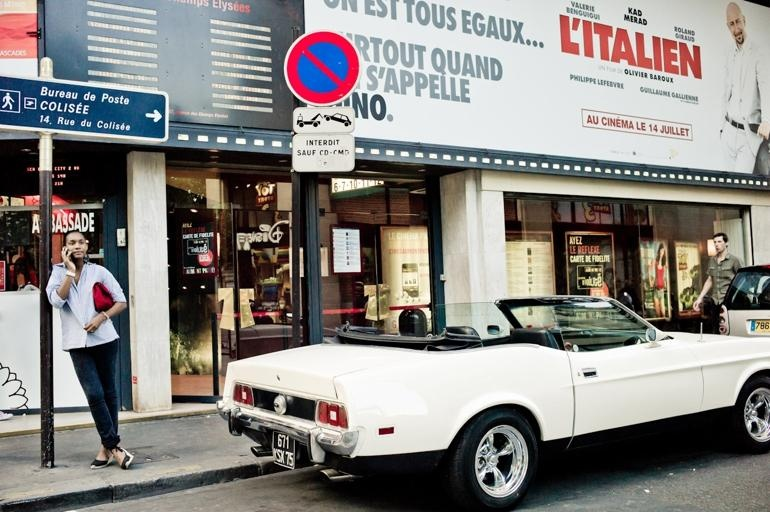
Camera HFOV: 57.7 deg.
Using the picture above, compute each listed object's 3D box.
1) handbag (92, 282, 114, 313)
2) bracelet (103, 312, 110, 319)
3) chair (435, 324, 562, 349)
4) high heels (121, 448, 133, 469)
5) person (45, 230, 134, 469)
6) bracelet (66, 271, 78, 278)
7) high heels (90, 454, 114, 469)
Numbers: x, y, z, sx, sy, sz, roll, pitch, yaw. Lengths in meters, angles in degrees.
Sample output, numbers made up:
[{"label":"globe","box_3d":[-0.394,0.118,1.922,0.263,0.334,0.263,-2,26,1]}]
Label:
[{"label":"handbag","box_3d":[-3.452,0.517,8.598,0.149,0.341,0.305,-16,-6,12]},{"label":"bracelet","box_3d":[-3.395,0.724,8.587,0.069,0.022,0.056,43,4,-20]},{"label":"chair","box_3d":[1.191,0.892,7.710,0.777,0.313,0.598,0,-1,-20]},{"label":"high heels","box_3d":[-3.139,2.435,8.549,0.149,0.210,0.248,-3,5,-21]},{"label":"person","box_3d":[-3.551,1.115,8.652,0.978,2.840,0.501,0,4,14]},{"label":"bracelet","box_3d":[-3.809,0.205,8.554,0.096,0.080,0.108,9,-7,4]},{"label":"high heels","box_3d":[-3.454,2.505,8.535,0.109,0.066,0.232,-3,-8,19]}]
